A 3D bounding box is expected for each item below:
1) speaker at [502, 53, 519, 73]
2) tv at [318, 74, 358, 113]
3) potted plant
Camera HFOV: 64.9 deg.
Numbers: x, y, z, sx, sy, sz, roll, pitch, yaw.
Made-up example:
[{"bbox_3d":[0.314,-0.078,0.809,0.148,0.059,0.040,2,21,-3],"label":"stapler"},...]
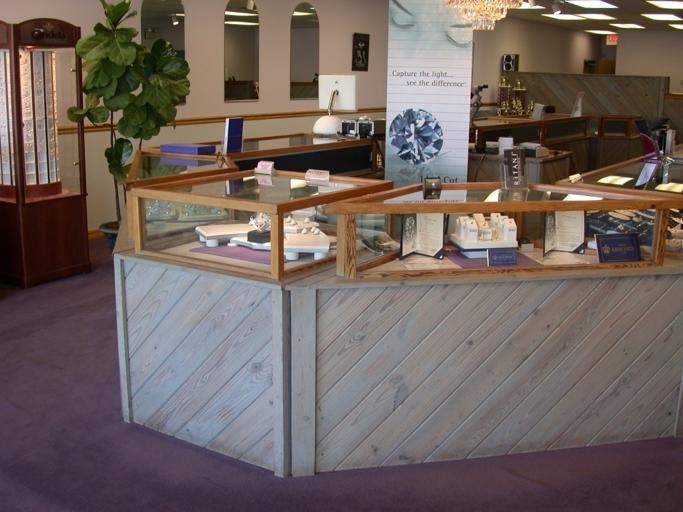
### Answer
[{"bbox_3d":[4.176,-4.714,13.054,0.529,0.418,0.265,-11,19,-31],"label":"speaker"},{"bbox_3d":[-0.044,-1.907,6.255,0.447,0.391,0.281,-1,16,3],"label":"tv"},{"bbox_3d":[-2.197,-1.420,5.604,1.167,2.375,1.336,-9,18,-22],"label":"potted plant"}]
